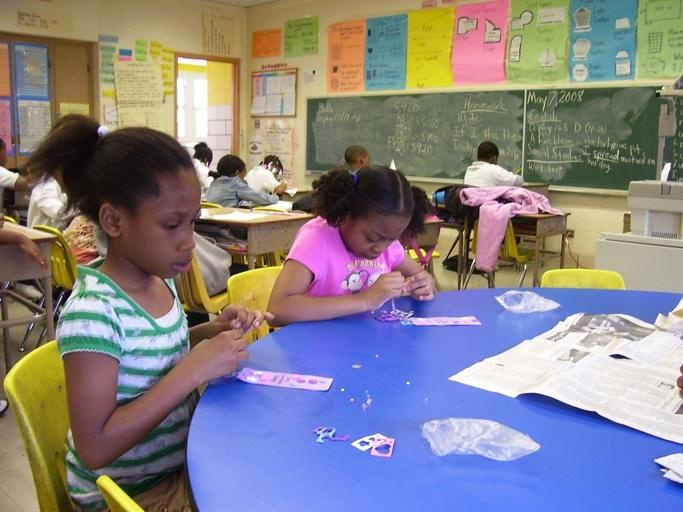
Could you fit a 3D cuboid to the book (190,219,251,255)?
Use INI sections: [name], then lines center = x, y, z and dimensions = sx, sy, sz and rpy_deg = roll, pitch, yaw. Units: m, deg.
[book]
center = -0.805, -0.140, 3.499
dimensions = 0.269, 0.095, 0.280
rpy_deg = 14, 16, 19
